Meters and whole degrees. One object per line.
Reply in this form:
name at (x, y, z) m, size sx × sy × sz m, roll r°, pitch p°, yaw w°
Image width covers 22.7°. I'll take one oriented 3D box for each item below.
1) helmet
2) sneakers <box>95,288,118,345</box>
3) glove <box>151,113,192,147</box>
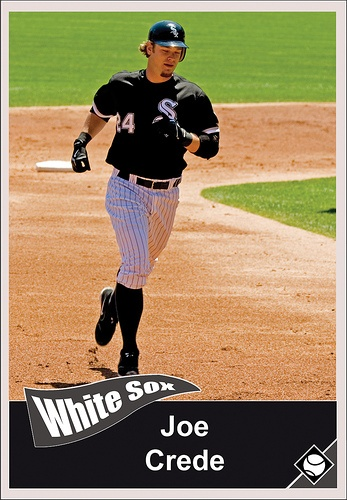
helmet at (-0.029, -1.283, 5.327) m, size 0.177 × 0.118 × 0.232 m, roll -3°, pitch 32°, yaw -29°
sneakers at (-0.456, 0.445, 5.925) m, size 0.139 × 0.159 × 0.394 m, roll 9°, pitch 44°, yaw -8°
glove at (0.001, -0.710, 5.224) m, size 0.243 × 0.198 × 0.222 m, roll 0°, pitch 14°, yaw -5°
